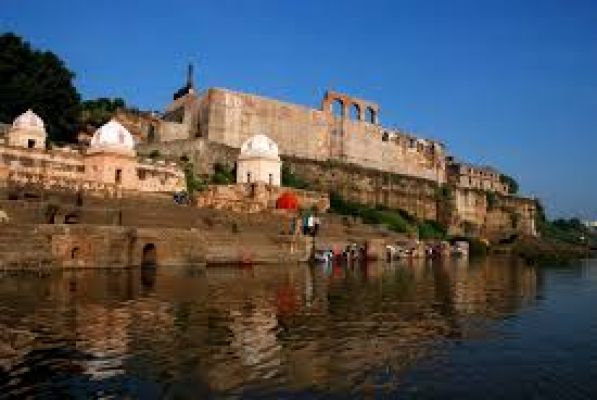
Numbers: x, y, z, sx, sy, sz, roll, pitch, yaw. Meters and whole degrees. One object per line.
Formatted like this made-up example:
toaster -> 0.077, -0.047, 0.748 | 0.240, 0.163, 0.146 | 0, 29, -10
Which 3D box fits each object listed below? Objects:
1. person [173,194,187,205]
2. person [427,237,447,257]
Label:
person -> -6.391, -0.020, 26.618 | 0.846, 0.504, 0.442 | -1, 2, 19
person -> 8.845, 3.127, 32.083 | 1.353, 0.785, 1.348 | -4, -2, 29
